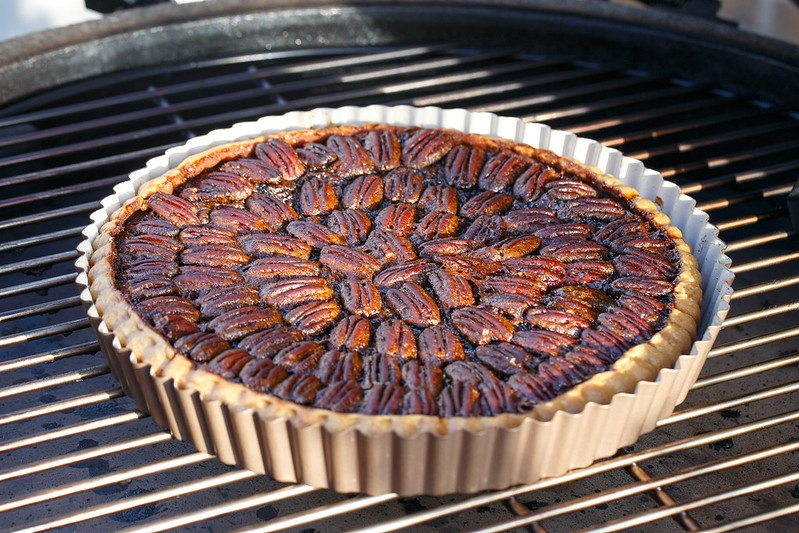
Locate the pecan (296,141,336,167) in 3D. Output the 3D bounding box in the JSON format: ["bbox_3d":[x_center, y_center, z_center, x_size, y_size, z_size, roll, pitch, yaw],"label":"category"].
[{"bbox_3d":[-0.360,-0.476,4.264,0.159,0.037,0.103,23,52,26],"label":"pecan"}]

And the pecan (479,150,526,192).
[{"bbox_3d":[0.438,-0.407,4.245,0.148,0.051,0.222,33,54,30],"label":"pecan"}]

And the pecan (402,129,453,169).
[{"bbox_3d":[0.120,-0.496,4.341,0.222,0.046,0.168,-38,57,-25],"label":"pecan"}]

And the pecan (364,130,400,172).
[{"bbox_3d":[-0.068,-0.501,4.316,0.166,0.043,0.180,-5,47,-8],"label":"pecan"}]

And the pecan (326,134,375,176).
[{"bbox_3d":[-0.209,-0.462,4.301,0.178,0.063,0.199,-23,53,-18],"label":"pecan"}]
